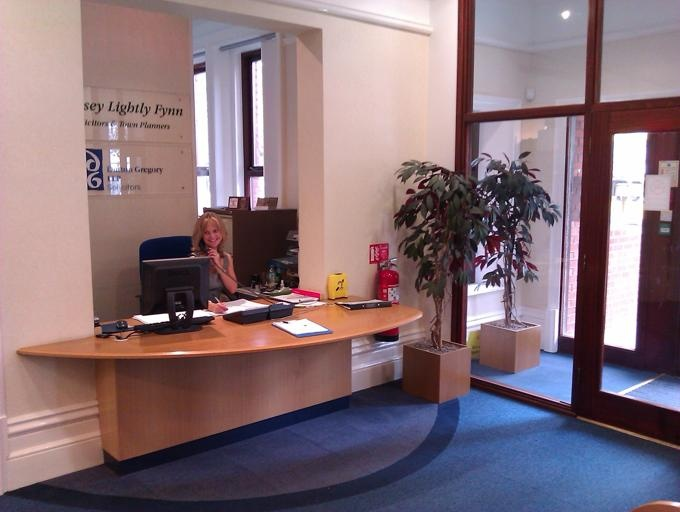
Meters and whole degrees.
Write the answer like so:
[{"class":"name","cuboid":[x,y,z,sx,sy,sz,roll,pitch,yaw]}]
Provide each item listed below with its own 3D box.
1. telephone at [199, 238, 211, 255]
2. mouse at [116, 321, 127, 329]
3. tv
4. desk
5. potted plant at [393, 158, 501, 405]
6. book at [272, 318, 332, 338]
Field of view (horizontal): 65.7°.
[{"class":"telephone","cuboid":[-1.177,-0.066,4.507,0.095,0.119,0.131,2,-4,-10]},{"class":"mouse","cuboid":[-1.519,0.475,3.628,0.056,0.055,0.057,6,1,-32]},{"class":"tv","cuboid":[-1.106,0.266,3.480,0.451,0.471,0.168,-3,15,-23]},{"class":"desk","cuboid":[-0.783,0.922,3.636,2.259,0.856,0.888,-6,12,-30]},{"class":"potted plant","cuboid":[0.876,0.195,4.720,0.877,2.063,0.650,10,14,41]},{"class":"book","cuboid":[-0.278,0.495,3.647,0.274,0.016,0.445,-8,13,-35]}]
